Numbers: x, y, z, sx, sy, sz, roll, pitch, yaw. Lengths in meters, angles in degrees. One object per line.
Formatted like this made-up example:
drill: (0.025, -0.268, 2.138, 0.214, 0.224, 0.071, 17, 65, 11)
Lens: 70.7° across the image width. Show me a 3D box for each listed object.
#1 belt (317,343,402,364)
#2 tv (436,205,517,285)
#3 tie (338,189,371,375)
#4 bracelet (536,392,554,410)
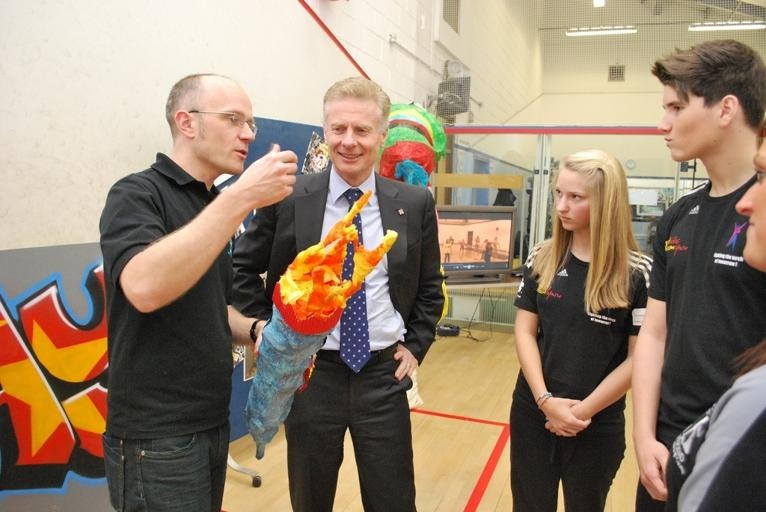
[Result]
belt: (-0.117, 0.401, 2.217, 0.201, 0.078, 0.004, -6, -26, -6)
tv: (0.918, -0.125, 5.468, 0.827, 0.690, 0.190, -1, 4, -6)
tie: (-0.118, 0.098, 2.254, 0.125, 0.742, 0.258, 1, 10, -4)
bracelet: (0.690, 0.627, 2.333, 0.018, 0.060, 0.061, 39, 14, 6)
